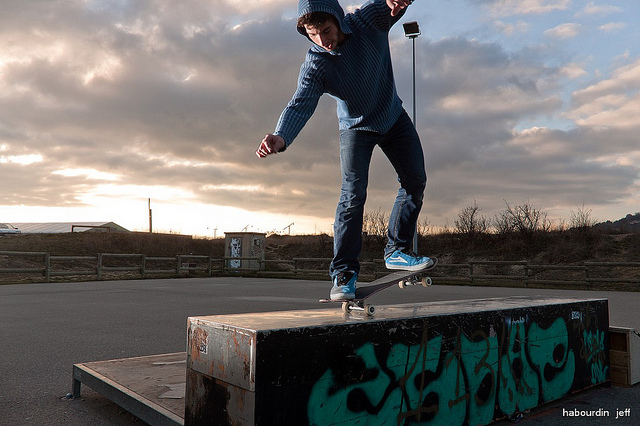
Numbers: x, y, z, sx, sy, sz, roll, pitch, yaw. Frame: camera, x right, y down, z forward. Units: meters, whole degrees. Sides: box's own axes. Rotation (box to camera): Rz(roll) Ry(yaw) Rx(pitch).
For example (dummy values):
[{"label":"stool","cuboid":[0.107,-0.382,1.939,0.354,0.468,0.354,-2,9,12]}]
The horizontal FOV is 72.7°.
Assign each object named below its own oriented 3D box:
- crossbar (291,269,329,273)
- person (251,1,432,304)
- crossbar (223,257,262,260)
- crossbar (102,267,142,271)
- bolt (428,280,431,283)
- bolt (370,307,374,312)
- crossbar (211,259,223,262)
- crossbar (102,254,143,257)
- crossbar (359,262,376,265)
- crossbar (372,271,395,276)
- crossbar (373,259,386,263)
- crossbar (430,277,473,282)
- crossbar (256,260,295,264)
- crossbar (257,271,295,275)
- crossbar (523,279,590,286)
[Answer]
[{"label":"crossbar","cuboid":[-0.373,2.566,19.224,0.672,0.164,2.203,2,-5,-40]},{"label":"person","cuboid":[0.353,-0.501,3.694,1.414,2.480,0.634,1,-4,-39]},{"label":"crossbar","cuboid":[-3.700,2.195,21.080,1.532,0.170,1.155,1,-5,-37]},{"label":"crossbar","cuboid":[-7.162,2.009,15.778,1.260,0.199,0.137,-4,-14,-1]},{"label":"bolt","cuboid":[0.959,0.599,3.807,0.018,0.020,0.035,2,8,27]},{"label":"bolt","cuboid":[0.402,0.735,3.327,0.017,0.034,0.047,-4,-5,36]},{"label":"crossbar","cuboid":[-5.150,2.371,21.847,0.780,0.118,0.116,5,35,-39]},{"label":"crossbar","cuboid":[-7.308,1.583,16.203,0.561,0.126,1.623,-4,-5,26]},{"label":"crossbar","cuboid":[2.015,2.075,17.760,0.487,0.128,0.476,1,-2,13]},{"label":"crossbar","cuboid":[2.541,2.460,17.639,0.633,0.173,2.036,-2,-4,3]},{"label":"crossbar","cuboid":[2.416,1.989,17.898,0.442,0.169,1.364,-2,-4,5]},{"label":"crossbar","cuboid":[4.936,2.467,16.330,1.384,0.232,1.109,-2,-4,9]},{"label":"crossbar","cuboid":[-1.974,2.289,20.446,0.924,0.188,3.033,1,-5,-31]},{"label":"crossbar","cuboid":[-1.941,2.796,20.417,1.844,0.133,1.009,-3,-4,16]},{"label":"crossbar","cuboid":[7.898,2.343,14.596,1.907,0.180,0.769,-4,-5,30]}]
